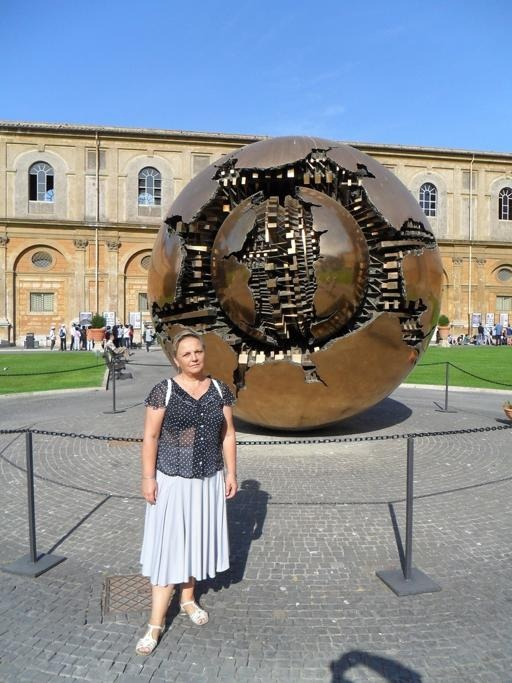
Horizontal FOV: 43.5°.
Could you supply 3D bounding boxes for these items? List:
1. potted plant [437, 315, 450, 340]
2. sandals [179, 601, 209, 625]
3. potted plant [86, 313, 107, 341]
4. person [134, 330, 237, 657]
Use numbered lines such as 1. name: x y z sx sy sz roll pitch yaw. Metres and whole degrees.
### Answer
1. potted plant: 10.711 -0.805 36.889 0.631 1.472 1.725 1 7 16
2. sandals: -0.384 1.654 3.904 0.086 0.086 0.233 6 -14 -31
3. potted plant: -7.571 -0.598 30.199 0.808 1.256 1.787 -3 7 -16
4. person: -0.420 0.847 3.780 0.729 1.788 0.347 -4 8 -24
